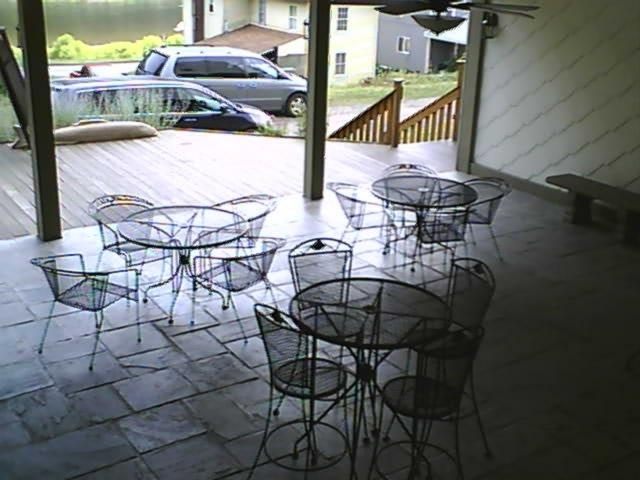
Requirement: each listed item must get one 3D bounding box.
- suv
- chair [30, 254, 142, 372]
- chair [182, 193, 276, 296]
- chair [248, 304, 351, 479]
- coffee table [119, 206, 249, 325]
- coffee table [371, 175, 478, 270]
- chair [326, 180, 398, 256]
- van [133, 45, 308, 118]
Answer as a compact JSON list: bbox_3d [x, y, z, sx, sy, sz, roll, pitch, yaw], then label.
[{"bbox_3d":[-3.113,-2.676,11.178,3.677,0.985,1.168,-5,31,-13],"label":"suv"},{"bbox_3d":[-2.110,0.697,4.939,0.853,0.786,0.734,16,26,21],"label":"chair"},{"bbox_3d":[-0.953,0.089,5.767,0.921,0.917,0.873,-24,45,-33],"label":"chair"},{"bbox_3d":[-0.138,1.096,3.855,0.878,1.249,0.642,-5,35,-10],"label":"chair"},{"bbox_3d":[-1.359,0.273,5.879,1.655,0.910,1.290,0,27,-9],"label":"coffee table"},{"bbox_3d":[1.508,-0.224,6.831,0.951,0.908,0.748,22,-15,3],"label":"coffee table"},{"bbox_3d":[0.519,-0.223,6.710,0.989,0.884,0.760,-7,33,-8],"label":"chair"},{"bbox_3d":[-1.851,-3.368,11.681,3.932,1.050,1.354,-1,26,-12],"label":"van"}]
